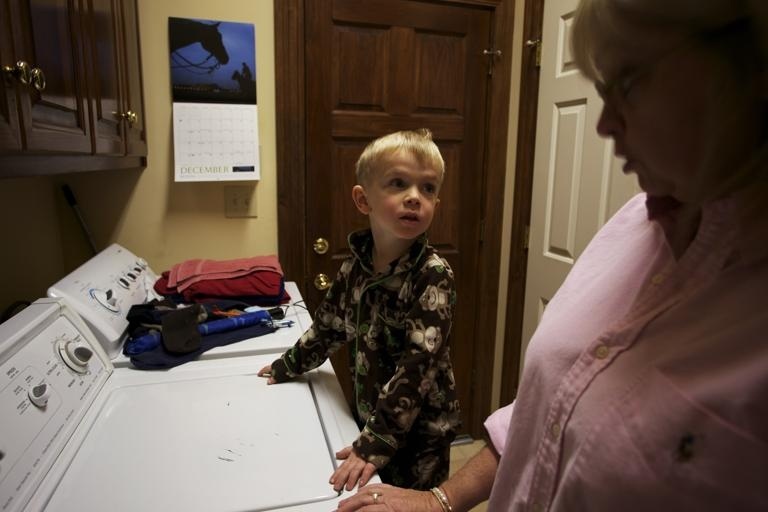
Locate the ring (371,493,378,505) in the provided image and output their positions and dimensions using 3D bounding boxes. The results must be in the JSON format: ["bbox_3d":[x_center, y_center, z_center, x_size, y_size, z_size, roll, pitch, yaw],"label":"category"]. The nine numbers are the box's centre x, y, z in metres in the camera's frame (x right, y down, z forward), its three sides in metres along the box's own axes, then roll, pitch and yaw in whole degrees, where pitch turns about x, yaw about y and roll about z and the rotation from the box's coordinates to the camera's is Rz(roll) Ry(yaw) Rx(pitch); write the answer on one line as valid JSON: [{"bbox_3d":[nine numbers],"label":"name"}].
[{"bbox_3d":[-0.021,0.505,1.102,0.009,0.004,0.016,14,32,-11],"label":"ring"}]
